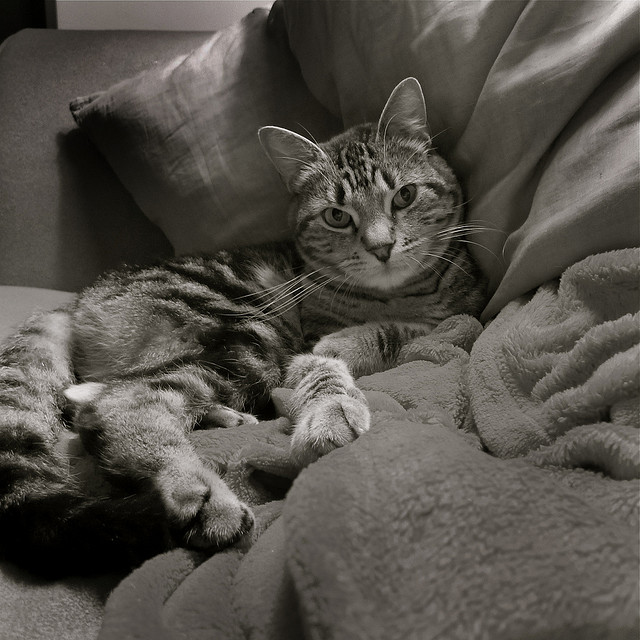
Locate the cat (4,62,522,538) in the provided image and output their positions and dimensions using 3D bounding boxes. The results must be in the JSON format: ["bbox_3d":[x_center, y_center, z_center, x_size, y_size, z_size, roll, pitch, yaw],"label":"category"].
[{"bbox_3d":[-0.100,-0.004,1.189,0.553,0.333,0.764,-25,26,-1],"label":"cat"}]

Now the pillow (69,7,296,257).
[{"bbox_3d":[-0.199,-0.279,1.311,0.354,0.110,0.389,-30,83,-6],"label":"pillow"}]

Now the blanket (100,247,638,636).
[{"bbox_3d":[0.075,0.153,0.841,0.452,0.137,0.482,-26,19,10],"label":"blanket"}]
